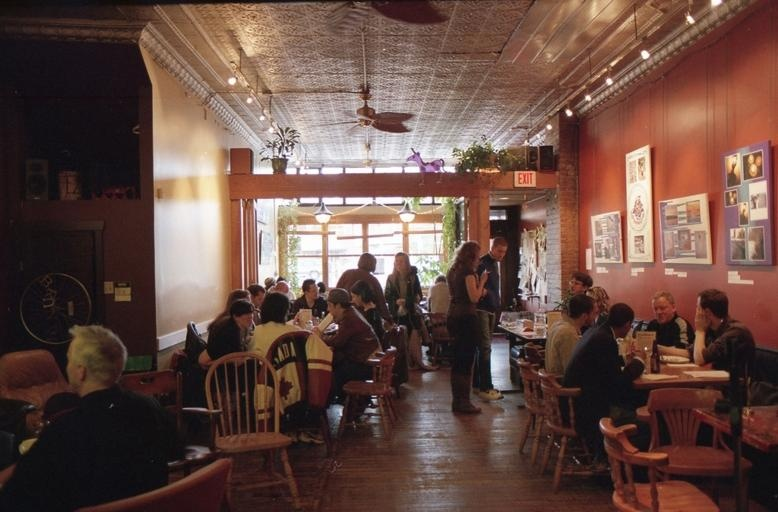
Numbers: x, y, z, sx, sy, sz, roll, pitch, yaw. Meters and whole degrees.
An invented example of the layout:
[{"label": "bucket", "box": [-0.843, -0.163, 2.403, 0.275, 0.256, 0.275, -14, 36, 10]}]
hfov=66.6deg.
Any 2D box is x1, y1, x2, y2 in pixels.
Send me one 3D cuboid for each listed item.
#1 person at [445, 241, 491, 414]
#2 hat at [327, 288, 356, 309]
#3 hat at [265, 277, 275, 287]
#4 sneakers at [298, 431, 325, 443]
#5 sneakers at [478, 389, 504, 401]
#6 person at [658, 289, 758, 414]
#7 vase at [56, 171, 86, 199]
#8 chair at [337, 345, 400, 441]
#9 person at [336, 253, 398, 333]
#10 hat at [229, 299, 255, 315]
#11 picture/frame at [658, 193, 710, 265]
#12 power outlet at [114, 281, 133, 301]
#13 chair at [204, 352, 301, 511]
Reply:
[{"label": "person", "box": [1.023, 0.947, 7.853, 0.479, 2.244, 0.392, 0, 7, 6]}, {"label": "hat", "box": [-0.590, 0.529, 7.423, 0.299, 0.149, 0.210, 11, 0, 1]}, {"label": "hat", "box": [-2.184, 0.488, 10.897, 0.154, 0.099, 0.138, -3, 7, -28]}, {"label": "sneakers", "box": [-0.930, 2.179, 7.108, 0.197, 0.070, 0.150, 11, -2, -10]}, {"label": "sneakers", "box": [1.433, 1.950, 8.348, 0.371, 0.143, 0.133, -3, -2, 18]}, {"label": "person", "box": [3.649, 1.131, 6.735, 0.690, 1.427, 0.856, -10, 10, -21]}, {"label": "vase", "box": [-4.112, -0.897, 7.662, 0.256, 0.369, 0.196, -3, 7, -22]}, {"label": "chair", "box": [-0.255, 1.648, 7.403, 0.698, 1.101, 1.074, 0, 7, 1]}, {"label": "person", "box": [-0.428, 0.795, 9.211, 0.840, 1.652, 0.528, 15, 16, 20]}, {"label": "hat", "box": [-1.597, 0.562, 6.489, 0.202, 0.182, 0.155, 3, -3, 9]}, {"label": "picture/frame", "box": [3.957, -0.362, 7.927, 0.098, 0.958, 0.939, -1, -5, -17]}, {"label": "power outlet", "box": [-3.390, 0.456, 7.579, 0.250, 0.265, 0.036, 0, -7, -6]}, {"label": "chair", "box": [-1.393, 1.667, 6.055, 0.853, 1.481, 1.297, -3, 7, -17]}]
